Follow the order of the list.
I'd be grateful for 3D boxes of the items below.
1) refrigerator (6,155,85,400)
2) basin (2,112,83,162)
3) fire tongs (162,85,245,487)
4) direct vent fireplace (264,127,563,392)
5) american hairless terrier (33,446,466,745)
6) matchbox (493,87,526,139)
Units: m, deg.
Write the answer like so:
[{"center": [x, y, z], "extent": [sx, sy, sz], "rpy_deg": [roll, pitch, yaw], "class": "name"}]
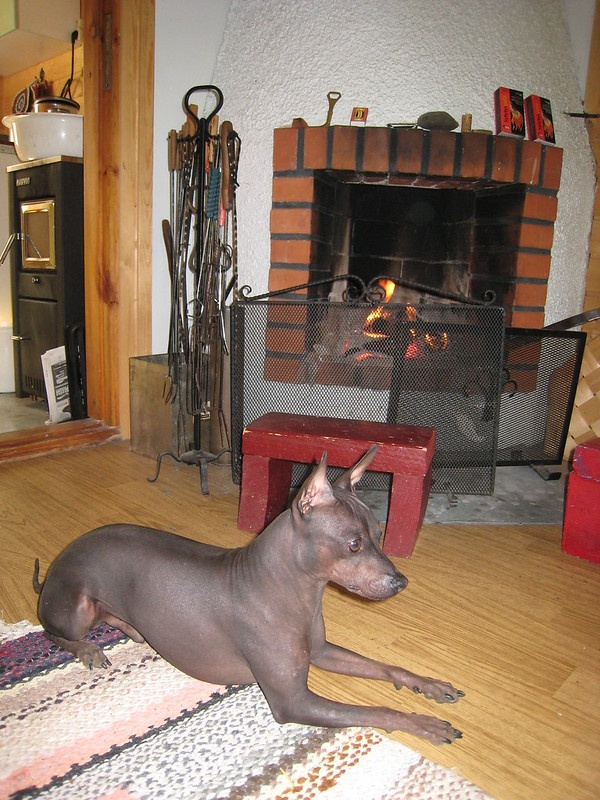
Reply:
[{"center": [-1.193, -0.594, 3.016], "extent": [0.646, 1.221, 0.260], "rpy_deg": [12, 15, 34], "class": "refrigerator"}, {"center": [-1.136, -1.200, 3.041], "extent": [0.442, 0.268, 0.311], "rpy_deg": [17, 25, 32], "class": "basin"}, {"center": [-0.366, -0.428, 2.329], "extent": [0.280, 1.399, 0.644], "rpy_deg": [3, 12, -7], "class": "fire tongs"}, {"center": [0.469, -0.721, 2.735], "extent": [1.207, 0.732, 0.485], "rpy_deg": [3, 12, -3], "class": "direct vent fireplace"}, {"center": [-0.111, 0.291, 1.078], "extent": [0.785, 0.514, 0.211], "rpy_deg": [8, 13, 19], "class": "american hairless terrier"}, {"center": [0.841, -1.121, 2.512], "extent": [0.156, 0.182, 0.081], "rpy_deg": [-1, 13, -22], "class": "matchbox"}]
